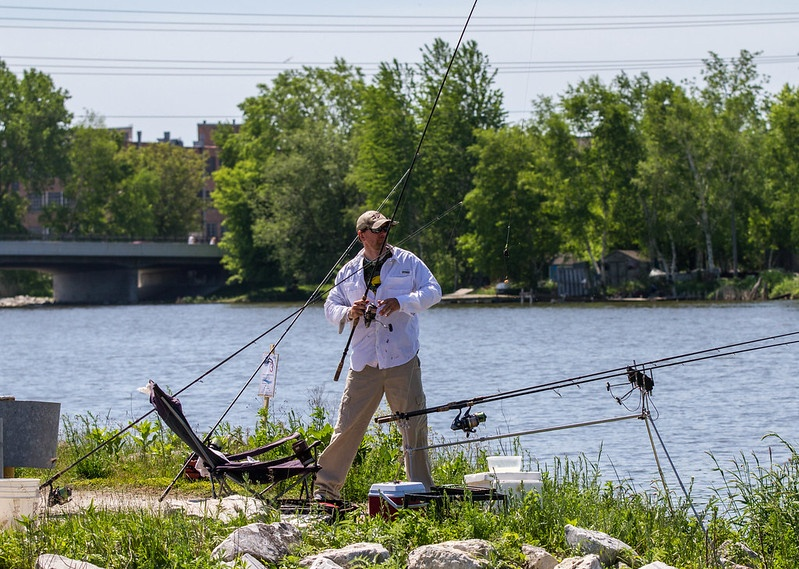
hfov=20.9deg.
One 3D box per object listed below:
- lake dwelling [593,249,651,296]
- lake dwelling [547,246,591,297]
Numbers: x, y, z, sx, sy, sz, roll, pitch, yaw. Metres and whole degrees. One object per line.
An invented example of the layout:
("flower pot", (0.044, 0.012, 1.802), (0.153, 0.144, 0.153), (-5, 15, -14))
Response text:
("lake dwelling", (13.764, -0.982, 127.794), (2.976, 2.248, 3.256), (-2, -4, 32))
("lake dwelling", (9.794, -0.278, 122.738), (2.575, 2.101, 1.106), (-1, -2, -21))
